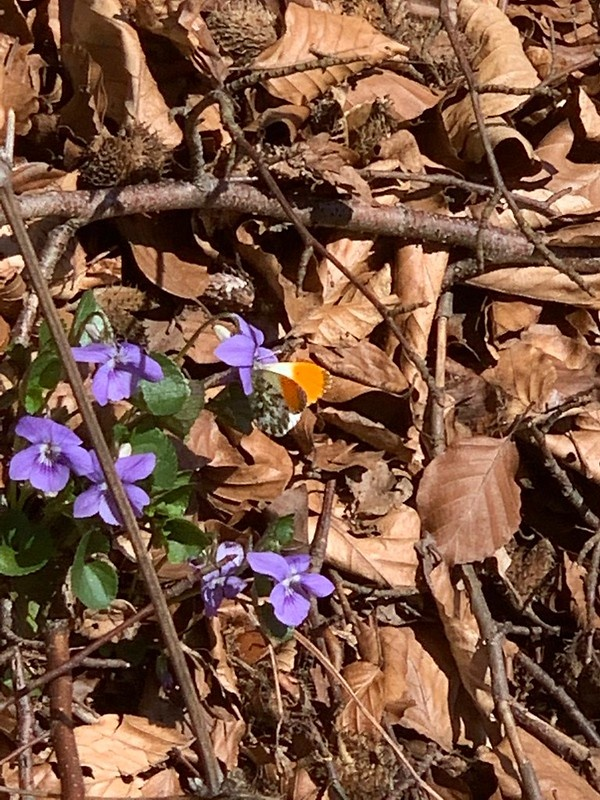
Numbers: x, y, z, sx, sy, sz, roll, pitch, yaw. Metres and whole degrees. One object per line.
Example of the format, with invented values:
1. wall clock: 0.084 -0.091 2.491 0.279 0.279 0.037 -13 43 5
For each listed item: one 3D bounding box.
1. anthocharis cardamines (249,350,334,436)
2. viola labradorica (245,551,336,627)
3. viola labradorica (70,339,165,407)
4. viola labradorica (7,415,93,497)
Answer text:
1. anthocharis cardamines: -0.027 -0.008 1.814 0.129 0.147 0.170 -21 53 -12
2. viola labradorica: -0.019 0.350 1.706 0.098 0.144 0.148 24 34 37
3. viola labradorica: -0.316 -0.046 1.542 0.160 0.128 0.085 -15 31 -31
4. viola labradorica: -0.428 0.093 1.515 0.139 0.137 0.053 -4 28 -10
